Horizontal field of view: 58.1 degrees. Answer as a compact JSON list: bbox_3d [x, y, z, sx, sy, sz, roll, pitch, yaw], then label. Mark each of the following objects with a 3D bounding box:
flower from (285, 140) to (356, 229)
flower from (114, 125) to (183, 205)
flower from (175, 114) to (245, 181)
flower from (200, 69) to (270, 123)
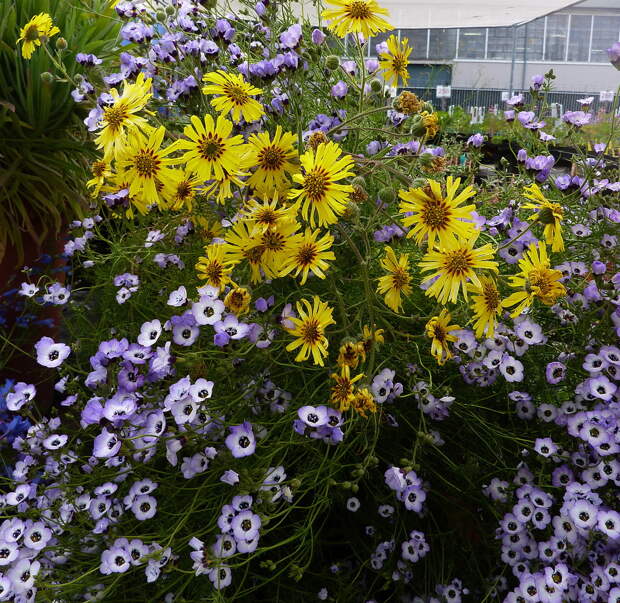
[{"bbox_3d":[0.015,-0.151,0.720,0.074,0.109,0.106,1,23,-3],"label":"flower"},{"bbox_3d":[-0.207,-0.183,0.751,0.098,0.106,0.063,8,23,12],"label":"flower"},{"bbox_3d":[-0.133,-0.199,0.723,0.080,0.086,0.077,-16,29,-37],"label":"flower"},{"bbox_3d":[-0.100,-0.275,0.756,0.083,0.066,0.076,7,23,10],"label":"flower"}]
